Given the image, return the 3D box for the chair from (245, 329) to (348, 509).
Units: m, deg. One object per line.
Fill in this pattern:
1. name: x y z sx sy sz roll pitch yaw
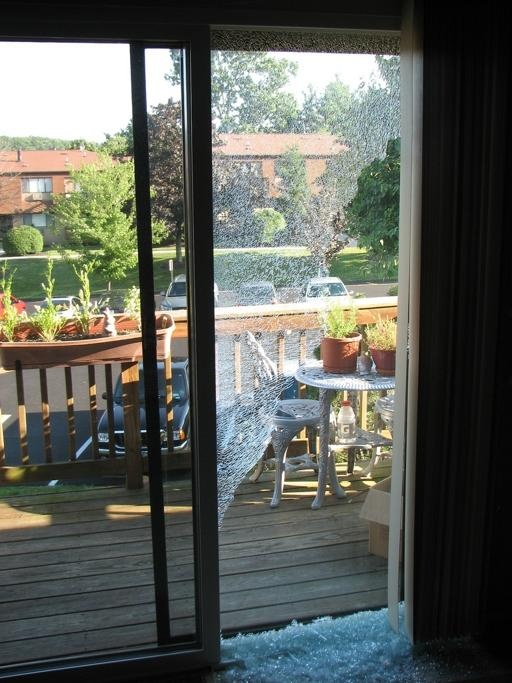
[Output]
1. chair: 0.122 0.229 1.882 0.344 0.727 0.296 -7 26 -12

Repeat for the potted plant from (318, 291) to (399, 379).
1. potted plant: 0.289 -0.031 1.849 0.233 0.206 0.205 -9 18 -31
